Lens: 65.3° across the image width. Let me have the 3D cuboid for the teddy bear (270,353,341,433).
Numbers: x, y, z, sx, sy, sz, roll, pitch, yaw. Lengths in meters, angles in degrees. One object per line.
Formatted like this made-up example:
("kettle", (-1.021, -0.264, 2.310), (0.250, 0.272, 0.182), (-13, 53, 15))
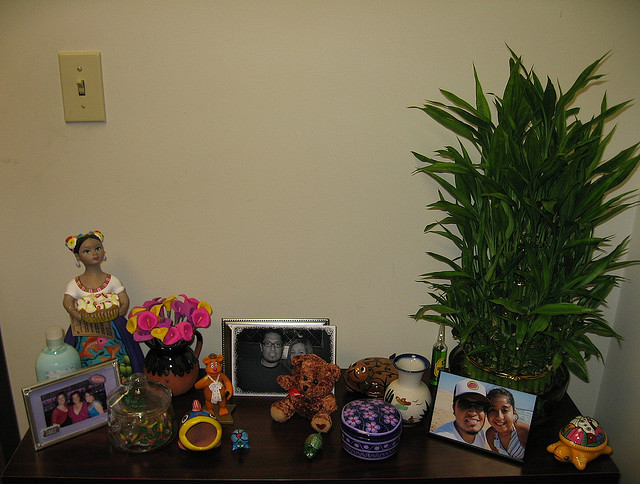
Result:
("teddy bear", (-0.038, 0.453, 1.558), (0.191, 0.200, 0.167), (5, 14, 16))

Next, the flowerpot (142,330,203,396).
("flowerpot", (-0.475, 0.390, 1.602), (0.188, 0.209, 0.072), (-2, 13, -12))

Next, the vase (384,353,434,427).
("vase", (0.268, 0.455, 1.625), (0.171, 0.243, 0.188), (2, 17, 7))

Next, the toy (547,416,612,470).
("toy", (0.747, 0.568, 1.425), (0.174, 0.121, 0.083), (-2, 14, -11))

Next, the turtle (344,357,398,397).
("turtle", (0.192, 0.433, 1.672), (0.214, 0.082, 0.170), (3, 19, -14))

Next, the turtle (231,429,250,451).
("turtle", (-0.229, 0.570, 1.441), (0.048, 0.042, 0.052), (3, -12, -15))

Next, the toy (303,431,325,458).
("toy", (-0.018, 0.577, 1.423), (0.044, 0.063, 0.021), (23, -22, 12))

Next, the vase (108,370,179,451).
("vase", (-0.541, 0.489, 1.502), (0.174, 0.206, 0.181), (10, 17, 18))

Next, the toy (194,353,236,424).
("toy", (-0.321, 0.443, 1.536), (0.138, 0.195, 0.140), (0, 7, 10))

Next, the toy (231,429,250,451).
("toy", (-0.229, 0.569, 1.442), (0.048, 0.042, 0.052), (4, -13, -19))

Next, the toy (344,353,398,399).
("toy", (0.165, 0.434, 1.611), (0.158, 0.131, 0.138), (-8, 23, -28))

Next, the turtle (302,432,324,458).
("turtle", (-0.018, 0.576, 1.422), (0.043, 0.022, 0.063), (22, 50, 16))

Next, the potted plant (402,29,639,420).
("potted plant", (0.627, -0.030, 1.529), (0.748, 1.204, 0.462), (3, 13, 9))
